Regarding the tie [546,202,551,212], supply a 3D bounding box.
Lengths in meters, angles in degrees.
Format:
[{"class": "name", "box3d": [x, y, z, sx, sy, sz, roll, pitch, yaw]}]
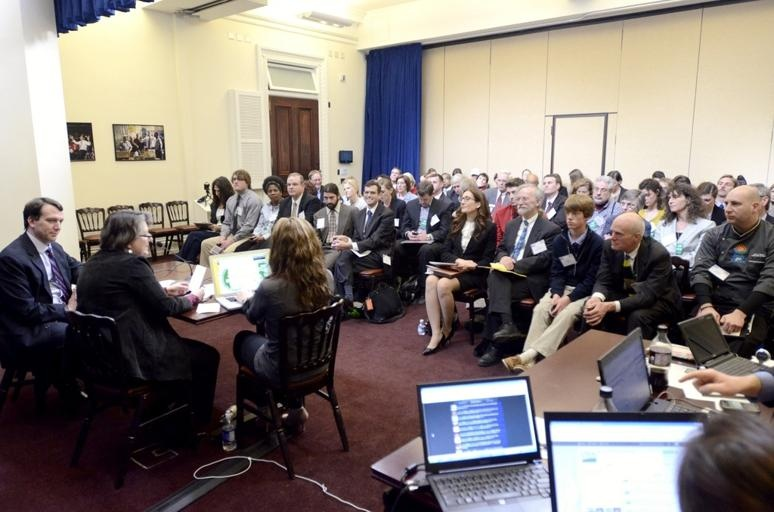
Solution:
[{"class": "tie", "box3d": [2.228, -0.667, 7.254, 0.032, 0.102, 0.106, 35, 10, 5]}]

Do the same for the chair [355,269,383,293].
[{"class": "chair", "box3d": [-0.214, 0.293, 6.319, 0.247, 0.191, 0.386, 2, 6, 32]}]

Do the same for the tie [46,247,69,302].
[{"class": "tie", "box3d": [-2.658, 0.152, 4.357, 0.118, 0.388, 0.283, -12, 8, -13]}]

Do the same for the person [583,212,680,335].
[{"class": "person", "box3d": [2.139, 0.182, 4.531, 0.762, 1.086, 0.609, 5, 14, 24]}]

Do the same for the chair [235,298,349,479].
[{"class": "chair", "box3d": [-0.705, 0.937, 3.911, 0.806, 1.127, 0.854, -4, 8, -21]}]

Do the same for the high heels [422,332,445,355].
[{"class": "high heels", "box3d": [0.512, 0.892, 5.270, 0.307, 0.130, 0.104, -18, 7, -40]}]

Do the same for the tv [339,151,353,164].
[{"class": "tv", "box3d": [-0.933, -2.216, 11.741, 0.142, 0.246, 0.283, 6, 8, 42]}]

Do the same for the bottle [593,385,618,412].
[{"class": "bottle", "box3d": [1.129, 0.749, 2.699, 0.111, 0.158, 0.109, -1, 12, 0]}]

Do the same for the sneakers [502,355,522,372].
[{"class": "sneakers", "box3d": [0.992, 0.862, 4.146, 0.103, 0.083, 0.244, -21, -3, 10]}]

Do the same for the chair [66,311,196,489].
[{"class": "chair", "box3d": [-1.938, 0.914, 3.754, 0.776, 1.162, 0.630, 7, 15, 31]}]

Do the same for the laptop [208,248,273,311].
[{"class": "laptop", "box3d": [-1.218, 0.186, 4.089, 0.620, 0.393, 0.490, -10, 4, 5]}]

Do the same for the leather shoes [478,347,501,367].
[{"class": "leather shoes", "box3d": [0.976, 0.978, 5.010, 0.105, 0.123, 0.285, 3, 0, 36]}]

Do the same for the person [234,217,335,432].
[{"class": "person", "box3d": [-0.779, 0.566, 3.766, 0.740, 1.661, 0.440, 1, 13, 8]}]

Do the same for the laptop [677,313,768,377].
[{"class": "laptop", "box3d": [2.116, 0.572, 3.295, 0.418, 0.261, 0.434, -7, 13, -12]}]

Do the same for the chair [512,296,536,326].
[{"class": "chair", "box3d": [1.355, 0.563, 5.277, 0.251, 0.327, 0.252, 3, 8, 38]}]

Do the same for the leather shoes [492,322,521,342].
[{"class": "leather shoes", "box3d": [1.139, 0.733, 4.964, 0.320, 0.155, 0.119, 2, -13, -24]}]

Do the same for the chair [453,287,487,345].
[{"class": "chair", "box3d": [0.827, 0.548, 5.535, 0.322, 0.307, 0.322, 7, -17, -32]}]

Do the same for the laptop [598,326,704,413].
[{"class": "laptop", "box3d": [1.390, 0.687, 2.844, 0.470, 0.396, 0.613, 6, 11, 37]}]

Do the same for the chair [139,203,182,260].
[{"class": "chair", "box3d": [-3.723, -0.439, 9.005, 0.491, 0.809, 0.437, 10, 3, -3]}]

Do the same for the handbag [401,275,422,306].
[{"class": "handbag", "box3d": [0.312, 0.447, 6.724, 0.352, 0.357, 0.262, -2, 2, 29]}]

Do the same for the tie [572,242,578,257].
[{"class": "tie", "box3d": [1.792, -0.061, 5.000, 0.039, 0.107, 0.077, 6, -13, -12]}]

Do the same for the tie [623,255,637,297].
[{"class": "tie", "box3d": [2.148, 0.188, 4.652, 0.089, 0.386, 0.091, -29, 23, -35]}]
